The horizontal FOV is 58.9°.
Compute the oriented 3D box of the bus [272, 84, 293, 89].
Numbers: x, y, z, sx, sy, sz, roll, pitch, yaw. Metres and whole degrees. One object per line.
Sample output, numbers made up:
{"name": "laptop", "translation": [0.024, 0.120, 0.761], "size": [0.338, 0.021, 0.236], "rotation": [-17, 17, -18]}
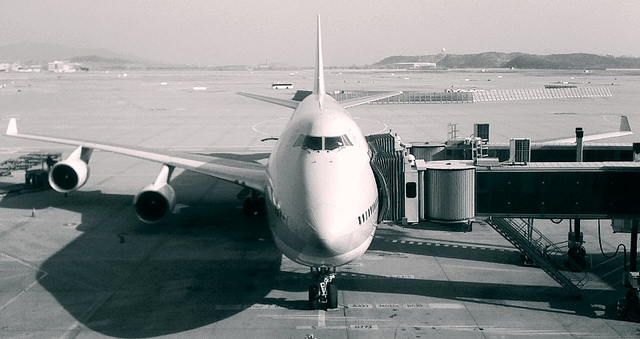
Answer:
{"name": "bus", "translation": [-11.781, -25.885, 175.180], "size": [8.773, 1.731, 2.051], "rotation": [0, 6, -14]}

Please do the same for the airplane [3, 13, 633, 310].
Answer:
{"name": "airplane", "translation": [-0.873, 0.421, 54.479], "size": [44.905, 10.560, 33.030], "rotation": [1, 21, 1]}
